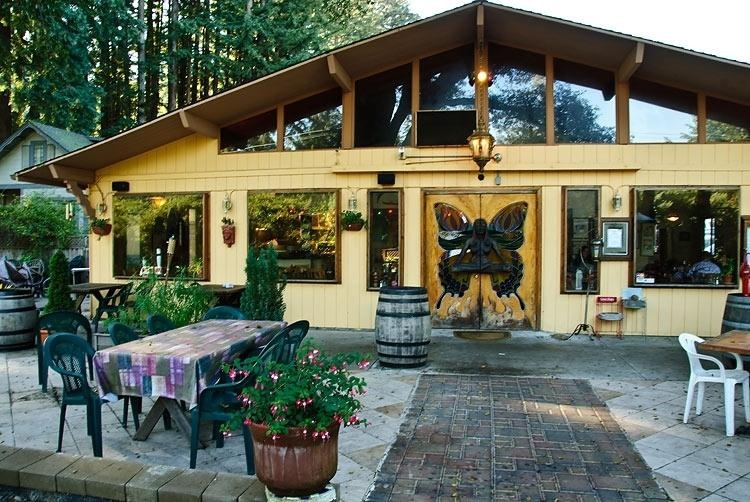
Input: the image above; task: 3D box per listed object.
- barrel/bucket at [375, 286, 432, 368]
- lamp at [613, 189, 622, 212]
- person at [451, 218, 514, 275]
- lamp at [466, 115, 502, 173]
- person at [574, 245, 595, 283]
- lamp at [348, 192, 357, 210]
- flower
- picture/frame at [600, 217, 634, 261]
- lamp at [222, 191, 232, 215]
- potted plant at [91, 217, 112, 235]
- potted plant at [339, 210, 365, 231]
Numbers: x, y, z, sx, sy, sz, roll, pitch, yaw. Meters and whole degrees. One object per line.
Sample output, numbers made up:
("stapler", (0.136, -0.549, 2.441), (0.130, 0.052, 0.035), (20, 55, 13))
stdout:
("barrel/bucket", (0.446, 1.224, 10.177), (1.136, 1.534, 1.156), (0, -1, 0))
("lamp", (4.662, -0.977, 11.592), (0.166, 0.359, 0.151), (-10, 17, -33))
("person", (2.202, -0.110, 12.003), (1.092, 0.969, 0.333), (-1, 1, 2))
("lamp", (2.082, -1.934, 11.491), (0.500, 1.166, 0.655), (6, 16, 26))
("person", (4.102, 0.274, 11.653), (0.383, 0.760, 0.199), (4, 15, 20))
("lamp", (-0.440, -1.006, 12.056), (0.179, 0.338, 0.110), (0, 14, 2))
("flower", (-0.915, 1.495, 6.346), (1.364, 0.796, 1.201), (1, 0, -10))
("picture/frame", (4.664, -0.222, 11.569), (0.804, 1.131, 0.114), (1, -1, 5))
("lamp", (-3.035, -1.012, 12.431), (0.204, 0.425, 0.154), (5, 15, 21))
("potted plant", (-5.793, -0.525, 12.769), (0.318, 0.268, 0.379), (0, -2, -11))
("potted plant", (-0.437, -0.612, 11.897), (0.392, 0.286, 0.394), (1, -3, -5))
